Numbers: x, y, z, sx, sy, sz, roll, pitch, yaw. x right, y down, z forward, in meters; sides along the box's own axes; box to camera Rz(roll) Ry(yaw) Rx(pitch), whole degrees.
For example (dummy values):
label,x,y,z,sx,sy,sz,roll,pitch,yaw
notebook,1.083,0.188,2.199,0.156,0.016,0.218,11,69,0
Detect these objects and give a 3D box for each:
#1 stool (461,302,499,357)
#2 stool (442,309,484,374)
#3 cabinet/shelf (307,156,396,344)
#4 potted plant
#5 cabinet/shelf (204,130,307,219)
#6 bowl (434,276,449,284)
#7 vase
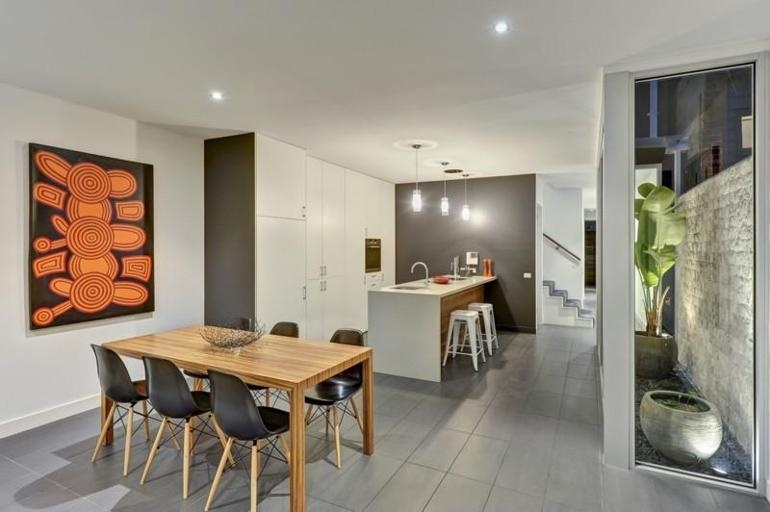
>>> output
label,x,y,z,sx,sy,sz,roll,pitch,yaw
stool,1.236,1.116,6.823,0.545,0.595,0.551,-7,-12,3
stool,1.142,1.147,6.992,0.693,0.996,0.739,1,2,30
cabinet/shelf,-0.590,-0.096,7.655,0.911,2.671,2.692,-1,-2,20
potted plant,2.499,0.229,4.453,0.433,1.744,0.154,-2,3,30
cabinet/shelf,-1.745,-1.043,6.321,0.323,0.959,1.026,-1,-2,20
bowl,0.843,0.368,7.369,0.210,0.103,0.216,-4,2,0
vase,2.609,1.506,4.464,0.553,0.587,0.598,1,0,-26
